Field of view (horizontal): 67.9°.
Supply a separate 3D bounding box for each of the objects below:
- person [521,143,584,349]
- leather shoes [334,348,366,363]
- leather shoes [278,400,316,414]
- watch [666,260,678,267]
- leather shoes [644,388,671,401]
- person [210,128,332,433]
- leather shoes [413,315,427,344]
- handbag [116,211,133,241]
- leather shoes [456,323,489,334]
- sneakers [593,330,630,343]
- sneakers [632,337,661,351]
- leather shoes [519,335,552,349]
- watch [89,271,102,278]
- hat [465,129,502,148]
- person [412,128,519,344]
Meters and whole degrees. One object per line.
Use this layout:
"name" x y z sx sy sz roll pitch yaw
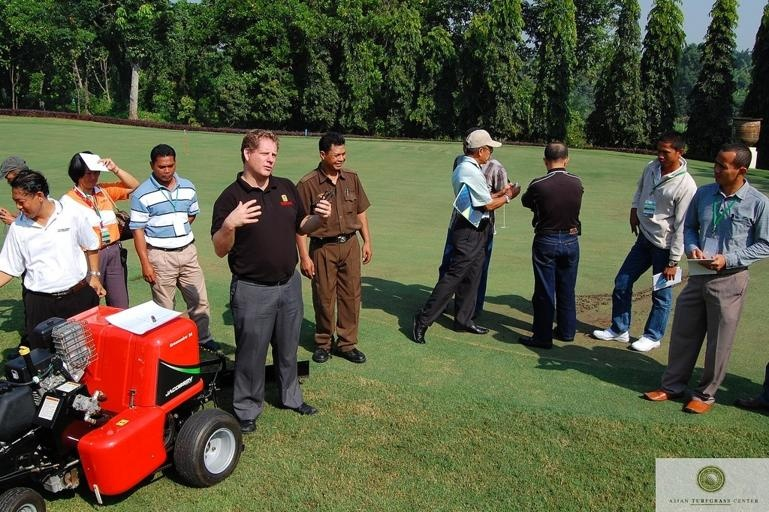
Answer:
"person" 2.100 -0.151 7.274 0.725 2.548 0.684 -5 14 -31
"leather shoes" -0.397 1.180 6.811 0.379 0.148 0.142 5 9 27
"leather shoes" -0.868 1.516 5.774 0.372 0.132 0.132 1 6 16
"watch" 3.502 0.092 6.931 0.096 0.051 0.071 1 4 0
"leather shoes" 2.880 1.460 6.018 0.241 0.090 0.112 3 6 -4
"person" -1.121 0.224 5.549 1.045 2.839 0.691 -2 13 -23
"leather shoes" 0.421 0.961 7.259 0.146 0.398 0.191 -2 -12 -33
"handbag" -3.091 -0.359 6.778 0.181 0.292 0.233 -17 34 -23
"leather shoes" 1.175 0.968 7.670 0.456 0.171 0.158 0 3 -1
"sneakers" 2.918 1.021 7.418 0.448 0.193 0.172 5 1 12
"sneakers" 3.239 1.095 7.133 0.363 0.139 0.144 -3 6 -12
"leather shoes" 1.911 1.102 7.309 0.420 0.157 0.150 9 10 34
"watch" -3.065 0.195 6.041 0.071 0.067 0.070 7 -4 1
"hat" 1.273 -1.493 7.288 0.432 0.190 0.265 -2 16 -14
"person" 1.009 -0.259 7.312 1.283 2.677 0.618 -8 16 -42
